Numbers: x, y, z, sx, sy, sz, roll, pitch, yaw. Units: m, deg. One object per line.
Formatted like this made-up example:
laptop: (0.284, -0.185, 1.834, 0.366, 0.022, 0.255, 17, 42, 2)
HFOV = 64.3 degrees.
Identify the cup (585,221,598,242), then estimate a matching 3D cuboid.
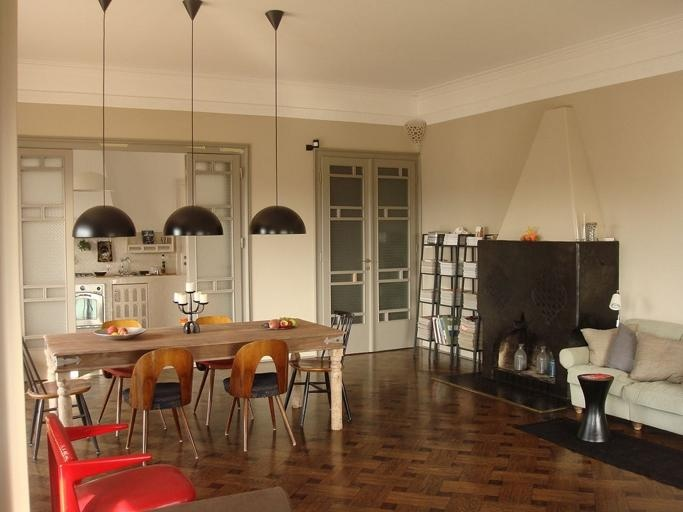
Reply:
cup: (2.655, -0.265, 5.783, 0.134, 0.193, 0.308, 2, 5, 23)

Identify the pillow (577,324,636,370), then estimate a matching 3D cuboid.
pillow: (2.664, 0.896, 5.329, 0.444, 0.386, 0.136, -3, -21, 39)

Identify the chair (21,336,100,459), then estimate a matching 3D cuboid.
chair: (-2.418, 1.135, 4.652, 0.549, 0.934, 0.478, -5, 0, -34)

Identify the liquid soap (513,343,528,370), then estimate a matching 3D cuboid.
liquid soap: (2.123, 1.188, 6.433, 0.160, 0.307, 0.290, 1, 5, 17)

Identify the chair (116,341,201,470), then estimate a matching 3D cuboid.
chair: (-1.498, 1.215, 4.501, 0.534, 0.764, 0.587, -1, -9, -25)

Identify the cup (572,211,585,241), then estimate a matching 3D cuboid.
cup: (2.548, -0.348, 5.823, 0.140, 0.321, 0.187, 1, 5, 16)

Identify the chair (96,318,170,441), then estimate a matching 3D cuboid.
chair: (-1.898, 1.318, 5.397, 0.618, 0.922, 0.608, 14, 10, 41)

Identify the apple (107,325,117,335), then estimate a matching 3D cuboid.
apple: (-2.052, 0.680, 4.918, 0.089, 0.079, 0.088, 13, -4, -30)

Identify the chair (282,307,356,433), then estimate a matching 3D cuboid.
chair: (-0.265, 1.088, 5.590, 0.848, 0.999, 0.802, 3, 3, 14)

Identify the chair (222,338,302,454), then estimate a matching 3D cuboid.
chair: (-0.755, 1.158, 4.965, 0.613, 0.963, 0.868, -2, 5, -11)

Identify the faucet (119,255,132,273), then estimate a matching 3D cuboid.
faucet: (-3.846, 0.140, 9.712, 0.208, 0.274, 0.130, -2, 6, -20)

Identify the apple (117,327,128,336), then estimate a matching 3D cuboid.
apple: (-1.953, 0.676, 4.877, 0.069, 0.063, 0.069, -5, 6, -40)
